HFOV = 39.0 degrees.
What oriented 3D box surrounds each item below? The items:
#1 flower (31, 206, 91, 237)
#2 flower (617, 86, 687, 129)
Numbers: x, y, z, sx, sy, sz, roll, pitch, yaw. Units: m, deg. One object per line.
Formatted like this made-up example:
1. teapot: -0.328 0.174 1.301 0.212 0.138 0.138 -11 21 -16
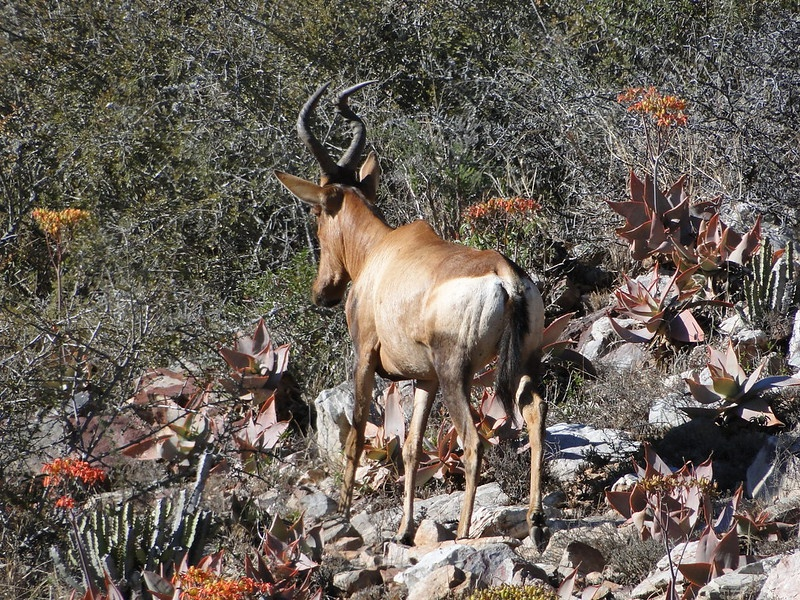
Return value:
1. flower: -3.374 -0.779 11.251 0.484 0.429 0.511 -5 2 -25
2. flower: 2.738 -2.145 12.418 0.611 0.373 0.713 26 2 -34
